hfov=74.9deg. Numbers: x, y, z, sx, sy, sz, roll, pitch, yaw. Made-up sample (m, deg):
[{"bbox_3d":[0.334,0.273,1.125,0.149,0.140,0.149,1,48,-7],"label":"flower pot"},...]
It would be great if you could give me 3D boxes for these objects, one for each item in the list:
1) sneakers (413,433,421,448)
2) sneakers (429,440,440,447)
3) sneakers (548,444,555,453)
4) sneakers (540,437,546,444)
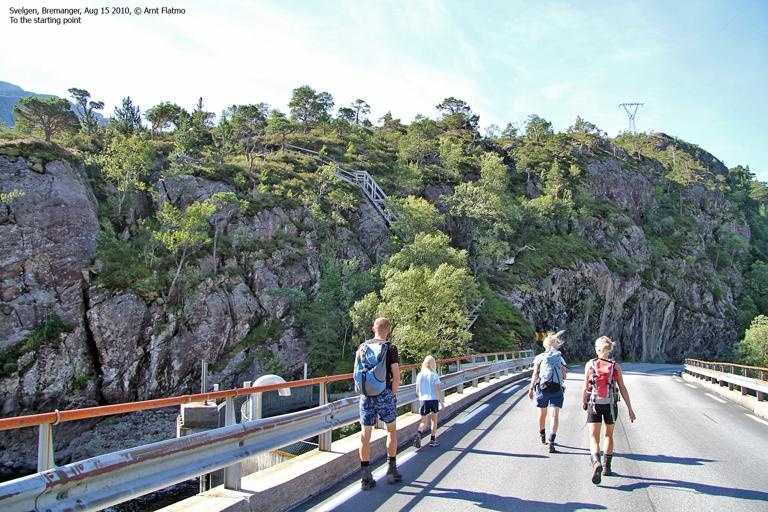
[{"bbox_3d":[0.834,4.507,12.332,0.146,0.425,0.185,-3,-4,10],"label":"sneakers"},{"bbox_3d":[1.252,4.600,12.492,0.257,0.159,0.222,1,-3,-3],"label":"sneakers"},{"bbox_3d":[4.044,4.576,12.068,0.171,0.171,0.286,0,-3,18],"label":"sneakers"},{"bbox_3d":[4.045,4.662,12.752,0.090,0.167,0.070,2,-10,-4],"label":"sneakers"}]
